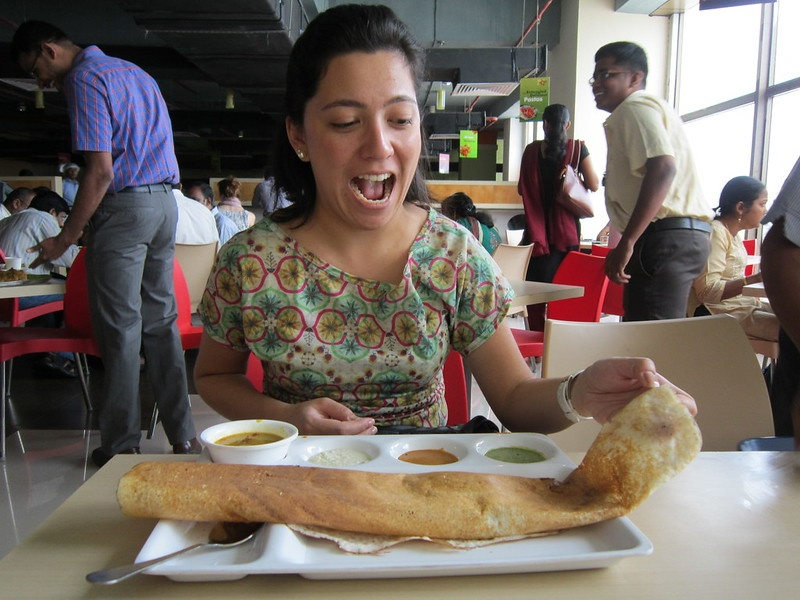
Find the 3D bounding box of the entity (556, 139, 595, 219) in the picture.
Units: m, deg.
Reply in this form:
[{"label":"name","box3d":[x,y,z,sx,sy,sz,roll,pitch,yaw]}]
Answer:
[{"label":"entity","box3d":[1.237,-0.851,4.201,0.148,0.544,0.392,-12,-40,32]}]

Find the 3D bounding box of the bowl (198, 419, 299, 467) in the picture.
[{"label":"bowl","box3d":[-0.238,0.233,0.954,0.145,0.047,0.145,0,3,0]}]

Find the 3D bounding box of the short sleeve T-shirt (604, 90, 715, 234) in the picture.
[{"label":"short sleeve T-shirt","box3d":[1.211,-0.661,2.825,0.453,0.670,0.688,-6,-3,15]}]

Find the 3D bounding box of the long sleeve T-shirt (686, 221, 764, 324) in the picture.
[{"label":"long sleeve T-shirt","box3d":[1.621,-0.132,2.969,0.333,0.525,0.539,-3,5,18]}]

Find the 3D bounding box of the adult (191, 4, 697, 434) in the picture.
[{"label":"adult","box3d":[0.014,-0.145,1.206,0.905,0.925,0.510,11,17,41]}]

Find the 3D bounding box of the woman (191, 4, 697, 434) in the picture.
[{"label":"woman","box3d":[0.014,-0.145,1.206,0.906,0.925,0.510,11,17,41]}]

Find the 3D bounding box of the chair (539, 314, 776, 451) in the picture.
[{"label":"chair","box3d":[0.663,0.225,1.616,0.376,0.603,0.422,0,-3,-1]}]

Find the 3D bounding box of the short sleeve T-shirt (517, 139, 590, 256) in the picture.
[{"label":"short sleeve T-shirt","box3d":[1.032,-0.736,4.289,0.284,0.766,0.587,-1,-10,-8]}]
